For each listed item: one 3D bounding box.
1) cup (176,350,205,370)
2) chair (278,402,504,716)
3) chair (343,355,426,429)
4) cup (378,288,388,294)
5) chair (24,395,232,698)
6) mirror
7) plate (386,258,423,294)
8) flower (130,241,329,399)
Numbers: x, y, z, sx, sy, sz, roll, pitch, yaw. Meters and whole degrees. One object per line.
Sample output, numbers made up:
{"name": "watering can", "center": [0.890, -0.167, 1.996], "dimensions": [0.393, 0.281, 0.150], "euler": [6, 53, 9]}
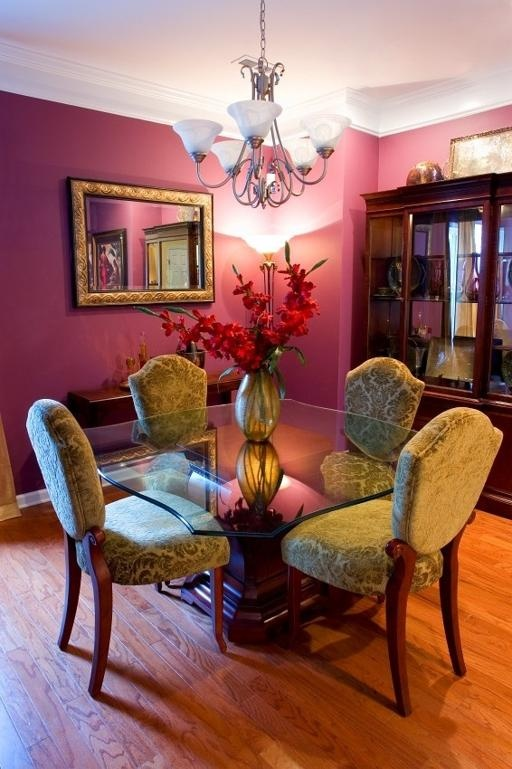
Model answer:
{"name": "cup", "center": [-0.449, -0.181, 3.542], "dimensions": [0.128, 0.108, 0.143], "euler": [6, 16, 20]}
{"name": "chair", "center": [0.410, 0.480, 1.641], "dimensions": [0.438, 0.873, 0.564], "euler": [-4, 6, -38]}
{"name": "chair", "center": [0.684, -0.010, 2.633], "dimensions": [0.328, 0.427, 0.361], "euler": [12, 12, 43]}
{"name": "cup", "center": [0.886, -0.649, 3.678], "dimensions": [0.047, 0.036, 0.047], "euler": [0, 1, 0]}
{"name": "chair", "center": [-0.544, 0.320, 2.145], "dimensions": [0.852, 1.308, 0.755], "euler": [-8, 15, -35]}
{"name": "mirror", "center": [-0.791, -0.967, 3.541], "dimensions": [0.051, 0.712, 1.011], "euler": [6, 8, 44]}
{"name": "plate", "center": [1.001, -0.723, 3.545], "dimensions": [0.057, 0.240, 0.239], "euler": [-4, 11, -26]}
{"name": "flower", "center": [-0.199, -0.414, 3.172], "dimensions": [0.952, 0.846, 0.769], "euler": [-11, 15, 10]}
